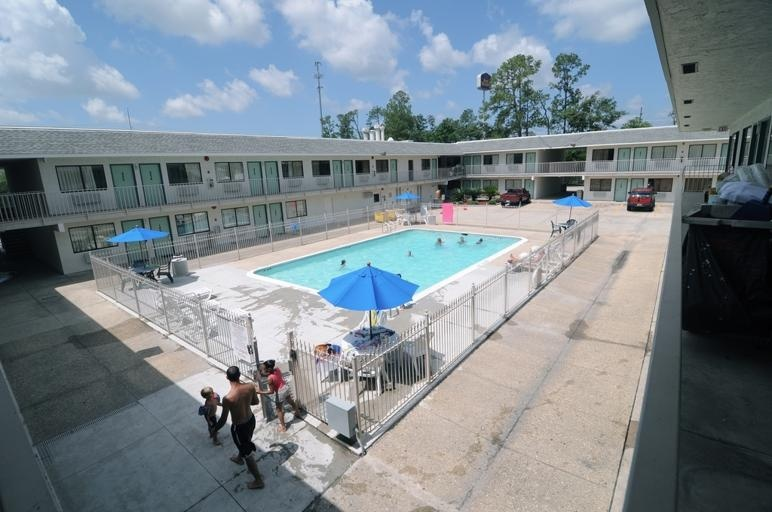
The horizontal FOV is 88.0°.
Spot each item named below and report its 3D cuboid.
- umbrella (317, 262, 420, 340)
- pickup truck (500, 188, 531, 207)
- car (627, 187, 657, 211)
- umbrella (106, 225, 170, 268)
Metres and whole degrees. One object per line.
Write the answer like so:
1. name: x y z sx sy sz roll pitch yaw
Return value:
1. umbrella: -0.577 0.826 10.915 2.257 1.813 2.205 16 34 24
2. pickup truck: 13.055 -5.952 39.981 1.734 1.065 3.355 6 20 32
3. car: 21.675 -4.827 33.911 1.718 1.408 3.069 5 17 34
4. umbrella: -12.784 -0.427 20.476 2.250 1.480 2.105 1 28 4
